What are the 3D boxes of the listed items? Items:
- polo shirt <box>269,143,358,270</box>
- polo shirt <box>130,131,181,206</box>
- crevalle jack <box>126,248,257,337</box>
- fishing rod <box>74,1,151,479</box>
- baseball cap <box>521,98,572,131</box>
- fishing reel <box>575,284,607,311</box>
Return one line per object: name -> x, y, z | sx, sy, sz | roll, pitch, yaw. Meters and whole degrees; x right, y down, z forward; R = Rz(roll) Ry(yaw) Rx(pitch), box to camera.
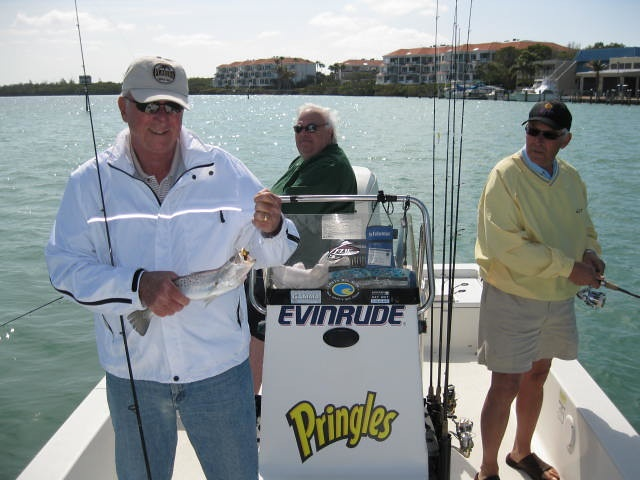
polo shirt -> -0.086, -0.228, 3.947 | 0.621, 0.811, 0.705 | 2, 7, 31
polo shirt -> -0.706, -0.314, 2.798 | 0.196, 0.292, 0.196 | -4, 11, -5
crevalle jack -> -0.562, 0.214, 2.662 | 0.441, 0.124, 0.167 | -27, 53, -2
fishing rod -> -0.913, 0.103, 2.829 | 0.098, 2.894, 0.039 | -9, -4, 21
baseball cap -> 1.315, -0.686, 3.663 | 0.177, 0.135, 0.247 | 26, 18, 32
fishing reel -> 1.565, 0.331, 3.689 | 0.151, 0.119, 0.065 | 15, 16, 31
